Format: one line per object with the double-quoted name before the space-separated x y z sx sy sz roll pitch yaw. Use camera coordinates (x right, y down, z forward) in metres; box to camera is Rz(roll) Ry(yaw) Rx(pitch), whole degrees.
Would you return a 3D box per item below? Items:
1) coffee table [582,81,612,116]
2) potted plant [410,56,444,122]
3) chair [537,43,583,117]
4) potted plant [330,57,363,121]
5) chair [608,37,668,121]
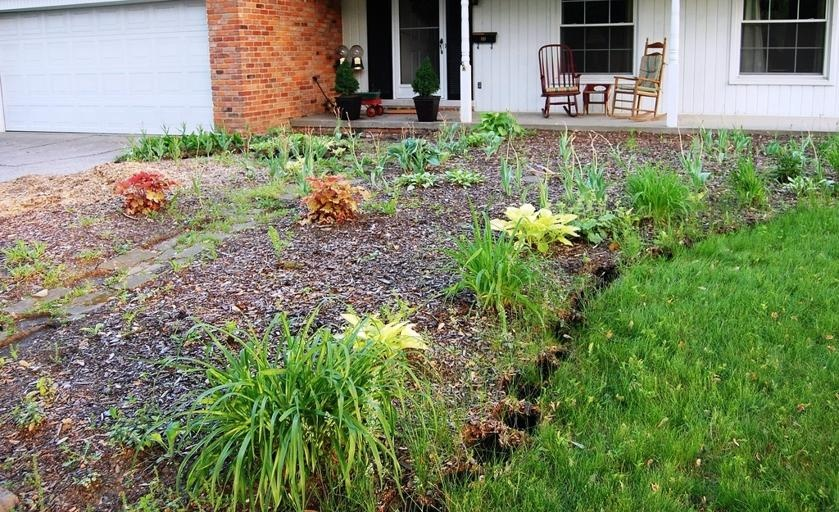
"coffee table" 3.532 -3.108 11.012 0.502 0.724 0.537 7 31 18
"potted plant" 0.118 -3.214 10.787 0.488 1.147 1.262 -1 19 2
"chair" 2.845 -3.529 11.301 0.717 1.417 0.745 -3 8 26
"potted plant" -1.398 -3.324 11.191 0.562 1.010 0.576 21 27 37
"chair" 4.111 -3.228 10.375 0.918 1.377 1.054 14 24 37
